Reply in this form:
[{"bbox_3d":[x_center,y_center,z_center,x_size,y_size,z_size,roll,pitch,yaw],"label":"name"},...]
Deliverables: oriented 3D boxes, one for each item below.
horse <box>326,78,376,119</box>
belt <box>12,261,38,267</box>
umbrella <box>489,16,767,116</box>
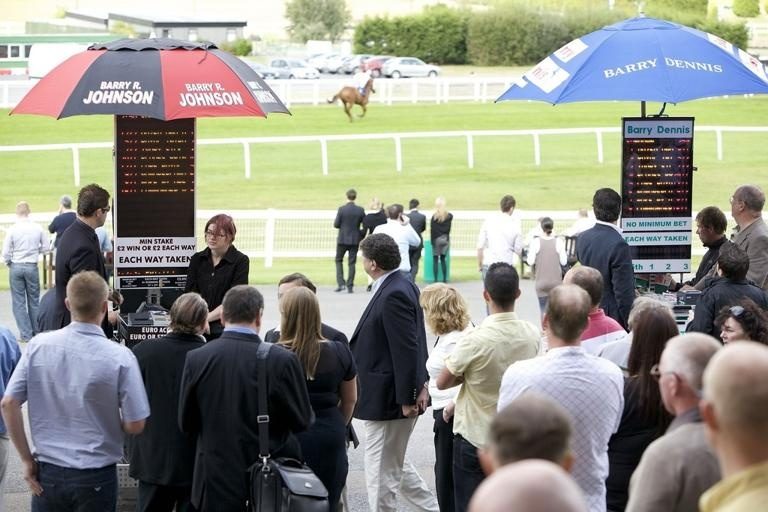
[{"bbox_3d":[-1.216,-5.441,51.078,2.047,1.527,0.497,-3,8,-29],"label":"horse"},{"bbox_3d":[-7.038,0.127,28.791,0.410,0.092,0.143,-2,4,-28],"label":"belt"},{"bbox_3d":[4.306,-3.116,24.236,2.285,0.850,2.303,-7,14,-23],"label":"umbrella"}]
